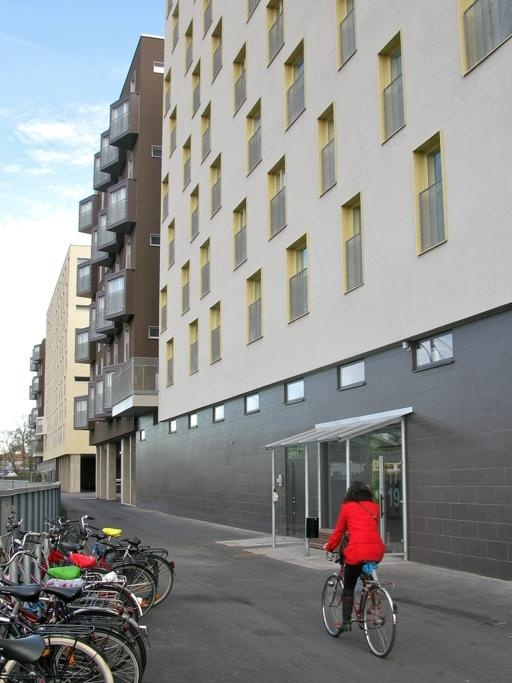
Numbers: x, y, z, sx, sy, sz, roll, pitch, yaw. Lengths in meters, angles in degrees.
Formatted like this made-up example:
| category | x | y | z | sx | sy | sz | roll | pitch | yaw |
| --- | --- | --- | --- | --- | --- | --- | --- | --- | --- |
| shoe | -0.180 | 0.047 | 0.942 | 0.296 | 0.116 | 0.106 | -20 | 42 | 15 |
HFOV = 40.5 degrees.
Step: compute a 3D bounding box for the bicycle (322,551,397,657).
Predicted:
| category | x | y | z | sx | sy | sz | roll | pitch | yaw |
| --- | --- | --- | --- | --- | --- | --- | --- | --- | --- |
| bicycle | 1.005 | 2.264 | 5.992 | 0.404 | 0.718 | 1.048 | 1 | -6 | -14 |
